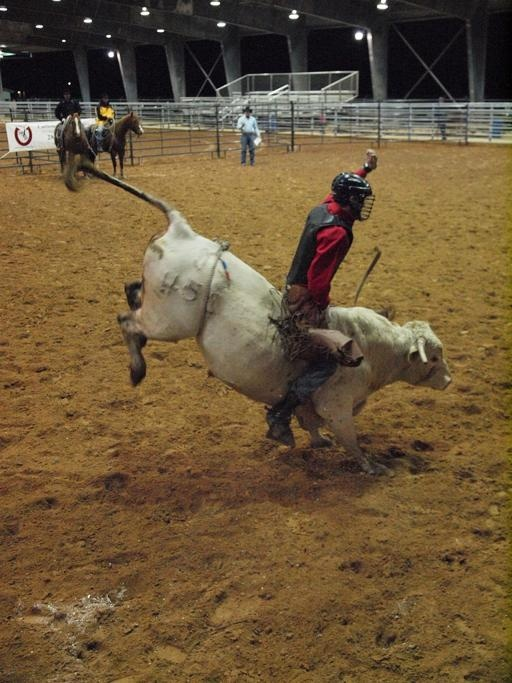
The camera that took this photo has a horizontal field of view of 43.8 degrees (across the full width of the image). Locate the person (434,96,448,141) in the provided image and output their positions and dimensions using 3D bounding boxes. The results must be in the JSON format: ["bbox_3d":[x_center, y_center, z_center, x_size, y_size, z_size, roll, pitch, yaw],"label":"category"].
[{"bbox_3d":[6.967,-8.293,24.124,0.425,1.427,0.926,-4,14,1],"label":"person"}]

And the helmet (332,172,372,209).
[{"bbox_3d":[0.514,-0.873,3.662,0.248,0.195,0.175,-2,40,-1],"label":"helmet"}]

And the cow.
[{"bbox_3d":[-0.044,-0.034,3.834,2.482,1.110,0.662,17,19,6],"label":"cow"}]

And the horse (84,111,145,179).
[{"bbox_3d":[-3.554,-5.031,16.422,2.304,1.325,0.574,12,22,42],"label":"horse"}]
